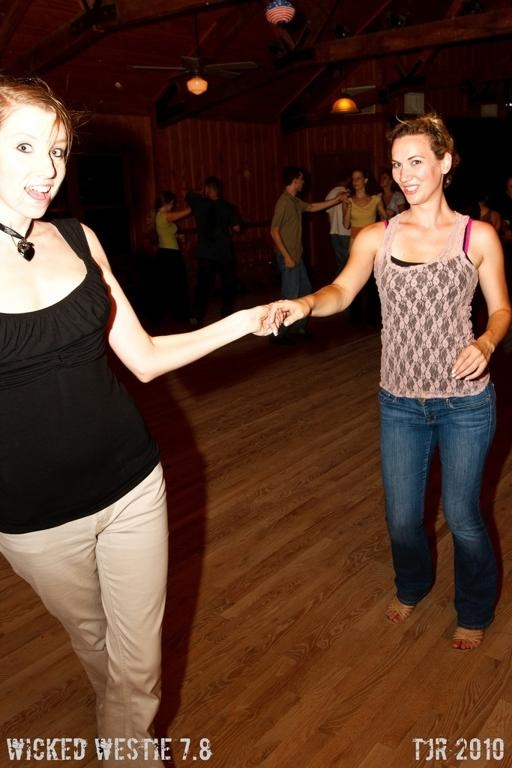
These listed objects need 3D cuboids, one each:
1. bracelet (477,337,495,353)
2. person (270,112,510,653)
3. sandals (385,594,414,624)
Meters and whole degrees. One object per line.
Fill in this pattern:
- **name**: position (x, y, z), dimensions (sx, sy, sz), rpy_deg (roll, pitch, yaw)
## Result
- **bracelet**: position (0.665, -0.118, 1.642), dimensions (0.052, 0.063, 0.021), rpy_deg (9, -19, -10)
- **person**: position (0.568, 0.029, 1.928), dimensions (0.547, 1.735, 0.569), rpy_deg (7, 27, 33)
- **sandals**: position (0.530, 0.832, 2.115), dimensions (0.057, 0.037, 0.114), rpy_deg (6, 11, 34)
